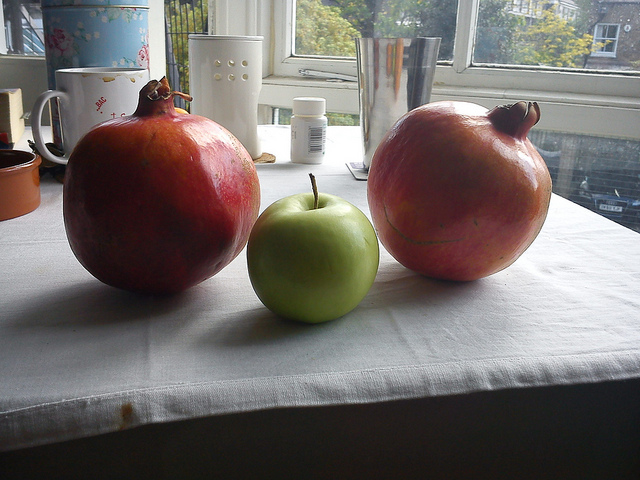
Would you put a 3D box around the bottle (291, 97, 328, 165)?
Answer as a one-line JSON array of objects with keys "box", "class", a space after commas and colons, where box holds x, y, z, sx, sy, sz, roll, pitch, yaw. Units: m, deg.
[{"box": [-0.024, -0.191, 0.896, 0.061, 0.113, 0.063, 3, 14, -1], "class": "bottle"}]

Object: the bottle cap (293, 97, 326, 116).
[{"box": [-0.017, -0.234, 0.883, 0.050, 0.029, 0.100, 5, 21, 2], "class": "bottle cap"}]

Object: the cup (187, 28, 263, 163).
[{"box": [-0.167, -0.257, 0.899, 0.131, 0.217, 0.133, 2, 27, -1], "class": "cup"}]

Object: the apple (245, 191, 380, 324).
[{"box": [-0.003, 0.012, 0.457, 0.110, 0.112, 0.116, 0, 21, 5], "class": "apple"}]
